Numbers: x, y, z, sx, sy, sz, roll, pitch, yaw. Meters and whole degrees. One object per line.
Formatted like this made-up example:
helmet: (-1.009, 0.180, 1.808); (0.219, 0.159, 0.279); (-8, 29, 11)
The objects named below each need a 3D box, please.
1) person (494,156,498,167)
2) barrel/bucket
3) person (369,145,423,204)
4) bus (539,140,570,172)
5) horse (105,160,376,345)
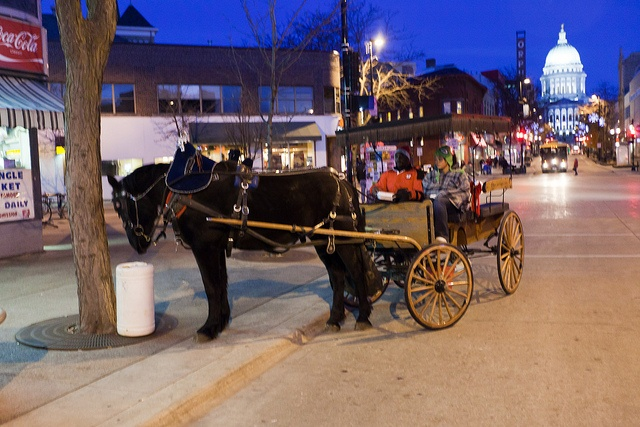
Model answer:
person: (21.142, -6.265, 73.821); (0.237, 1.319, 0.616); (5, -8, 3)
barrel/bucket: (-2.938, 1.370, 9.667); (0.585, 1.123, 0.329); (-2, 10, -10)
person: (1.453, -0.574, 11.722); (0.933, 1.625, 0.835); (1, -12, 23)
bus: (25.008, -6.017, 65.521); (2.239, 2.877, 4.119); (0, 8, 20)
horse: (-1.152, 0.589, 10.299); (4.306, 3.434, 1.305); (-4, 13, -13)
